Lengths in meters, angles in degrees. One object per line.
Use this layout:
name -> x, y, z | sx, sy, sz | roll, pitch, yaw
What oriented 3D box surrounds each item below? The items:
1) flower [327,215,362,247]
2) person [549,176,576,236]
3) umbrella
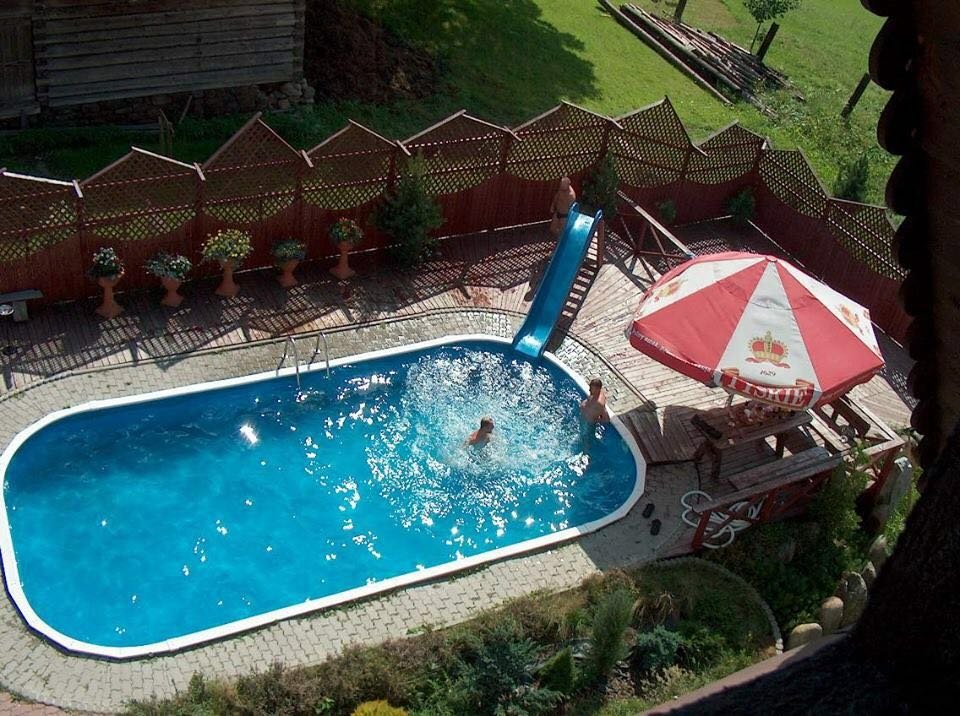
flower -> -2.889, -2.807, 17.123 | 0.618, 0.386, 0.826 | 20, 51, 4
person -> 1.961, -3.541, 18.996 | 0.494, 1.707, 0.726 | 16, 49, 3
umbrella -> 4.648, -0.194, 13.761 | 3.835, 2.028, 2.597 | 17, 50, 1
